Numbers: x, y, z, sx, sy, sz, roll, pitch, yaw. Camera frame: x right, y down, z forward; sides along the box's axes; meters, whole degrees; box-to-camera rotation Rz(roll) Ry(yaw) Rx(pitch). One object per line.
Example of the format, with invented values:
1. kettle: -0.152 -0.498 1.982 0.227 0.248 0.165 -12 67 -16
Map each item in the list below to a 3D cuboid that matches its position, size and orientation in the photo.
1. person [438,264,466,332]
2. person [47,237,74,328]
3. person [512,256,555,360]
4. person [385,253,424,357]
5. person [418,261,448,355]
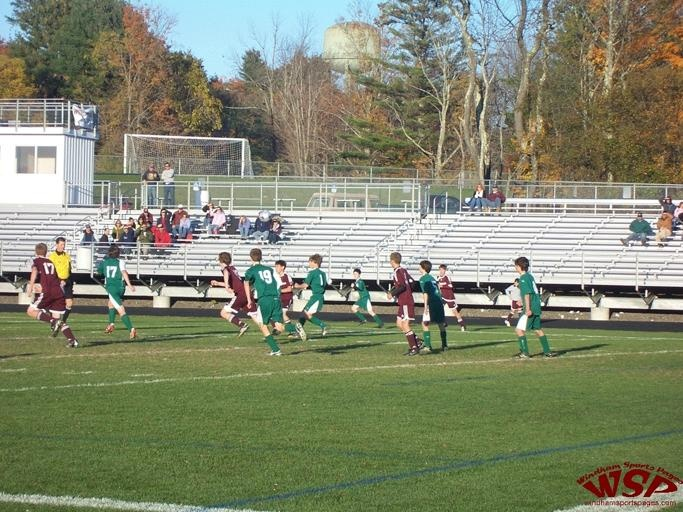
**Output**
1. person: 3.943 1.518 47.743 0.978 2.500 0.777 9 11 38
2. person: -9.201 0.827 44.592 1.000 2.979 0.772 0 7 -24
3. person: 6.001 1.620 42.161 0.924 3.205 1.462 -2 0 19
4. person: 2.024 1.503 42.580 0.882 3.194 1.011 -5 -4 23
5. person: 2.963 1.556 43.055 0.765 2.809 1.014 0 10 -5
